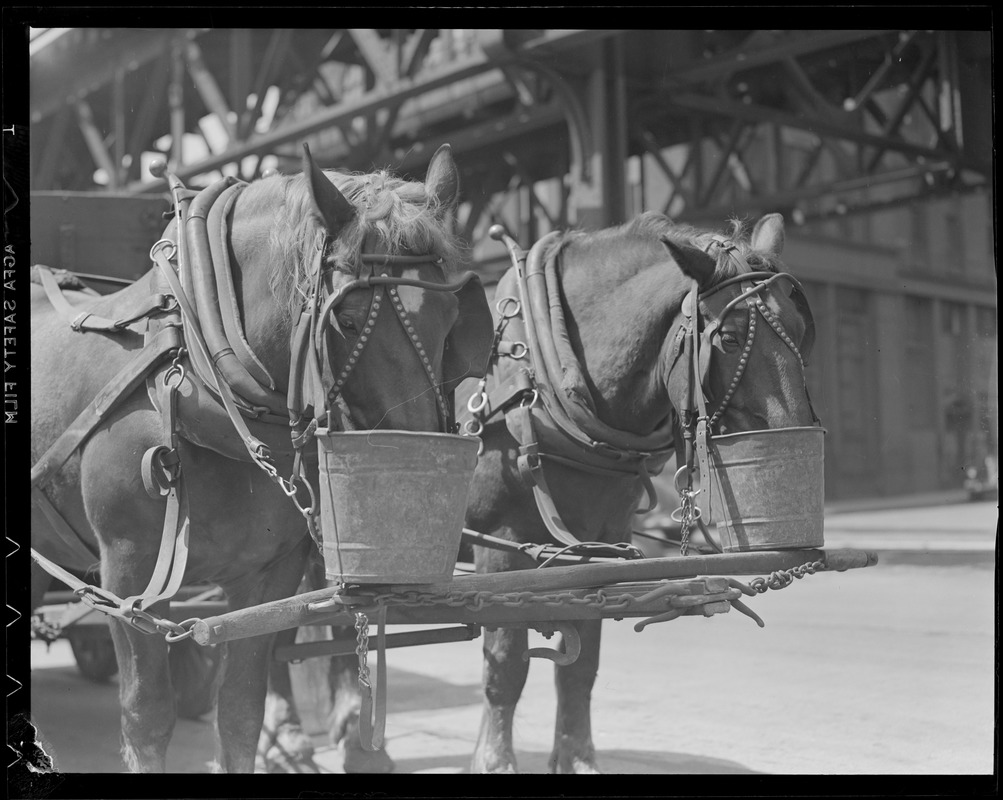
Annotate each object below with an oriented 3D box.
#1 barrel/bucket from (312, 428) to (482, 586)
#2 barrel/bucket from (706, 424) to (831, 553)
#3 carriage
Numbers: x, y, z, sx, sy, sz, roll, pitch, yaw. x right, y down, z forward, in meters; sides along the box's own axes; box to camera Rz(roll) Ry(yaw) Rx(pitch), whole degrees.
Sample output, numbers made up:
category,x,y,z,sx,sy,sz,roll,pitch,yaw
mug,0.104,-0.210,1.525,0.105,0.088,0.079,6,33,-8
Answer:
category,x,y,z,sx,sy,sz,roll,pitch,yaw
barrel/bucket,-0.403,0.390,7.783,0.681,0.491,0.610,5,-8,-32
barrel/bucket,1.096,0.344,8.384,0.581,0.448,0.578,-2,-8,0
carriage,-0.523,0.495,8.370,2.522,1.902,2.827,6,-10,-37
